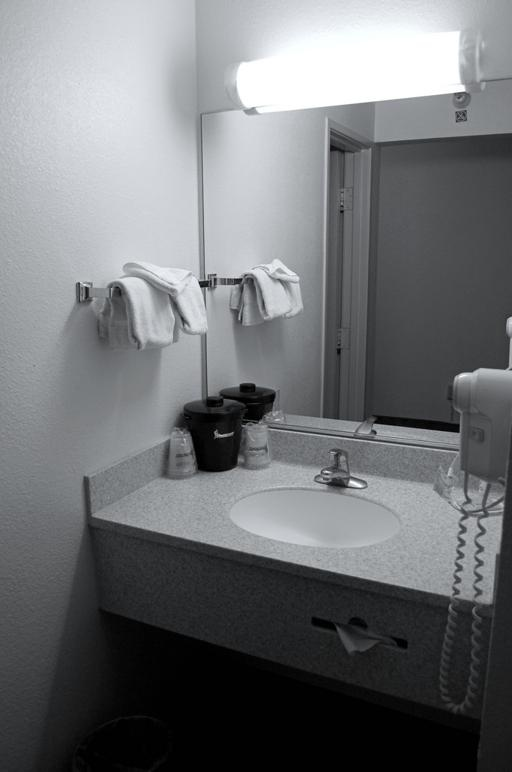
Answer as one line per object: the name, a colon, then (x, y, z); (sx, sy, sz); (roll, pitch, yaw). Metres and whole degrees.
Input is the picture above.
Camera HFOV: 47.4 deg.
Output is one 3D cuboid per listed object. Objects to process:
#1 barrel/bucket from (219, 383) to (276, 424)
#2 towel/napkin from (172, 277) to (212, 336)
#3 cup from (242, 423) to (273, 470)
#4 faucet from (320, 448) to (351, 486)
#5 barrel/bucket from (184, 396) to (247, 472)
barrel/bucket: (-0.015, 0.042, 1.773); (0.114, 0.094, 0.130); (0, 6, -1)
towel/napkin: (-0.158, -0.194, 1.427); (0.035, 0.123, 0.117); (-2, 19, 16)
cup: (0.001, 0.179, 1.684); (0.107, 0.184, 0.110); (0, 5, 0)
faucet: (0.217, 0.223, 1.594); (0.087, 0.097, 0.067); (5, 6, 33)
barrel/bucket: (-0.108, 0.123, 1.659); (0.186, 0.211, 0.189); (-1, 7, 0)
